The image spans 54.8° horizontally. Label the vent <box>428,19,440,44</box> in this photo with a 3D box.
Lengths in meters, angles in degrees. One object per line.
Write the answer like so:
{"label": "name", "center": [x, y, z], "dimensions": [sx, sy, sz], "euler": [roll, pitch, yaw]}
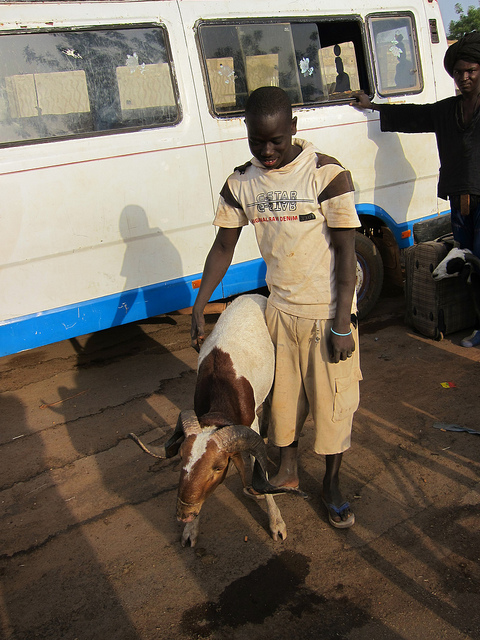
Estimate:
{"label": "vent", "center": [2.183, -3.269, 5.245], "dimensions": [0.145, 0.258, 0.062], "euler": [-23, 21, -34]}

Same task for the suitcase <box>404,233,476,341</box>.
{"label": "suitcase", "center": [1.997, -0.306, 4.585], "dimensions": [0.837, 1.234, 0.662], "euler": [-13, 16, -34]}

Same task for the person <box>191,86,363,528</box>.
{"label": "person", "center": [0.288, -0.144, 2.418], "dimensions": [0.887, 2.274, 1.030], "euler": [-2, 11, 5]}

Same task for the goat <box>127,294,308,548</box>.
{"label": "goat", "center": [0.002, 0.387, 2.434], "dimensions": [0.687, 0.740, 1.397], "euler": [2, 42, 7]}
